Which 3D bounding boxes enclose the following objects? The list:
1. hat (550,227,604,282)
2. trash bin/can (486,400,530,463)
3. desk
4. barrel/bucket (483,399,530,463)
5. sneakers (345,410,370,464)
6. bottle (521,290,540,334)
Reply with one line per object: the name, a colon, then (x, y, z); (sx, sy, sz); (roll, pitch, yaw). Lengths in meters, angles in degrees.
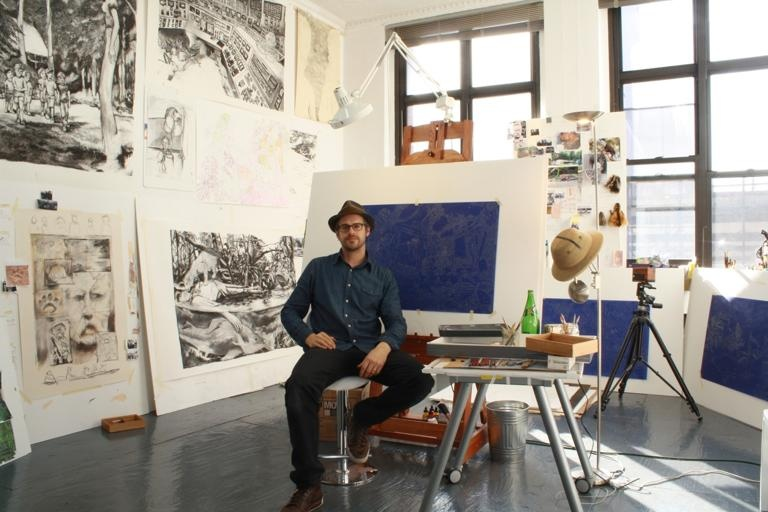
hat: (1.259, -0.019, 3.299); (0.357, 0.320, 0.217); (-4, 4, -31)
trash bin/can: (0.938, 1.350, 4.032); (0.381, 0.397, 0.355); (-3, -4, 36)
desk: (0.796, 1.053, 3.278); (1.029, 0.912, 0.981); (-3, -3, 19)
barrel/bucket: (0.927, 1.343, 3.997); (0.357, 0.397, 0.380); (0, -4, 0)
sneakers: (-0.198, 1.320, 3.717); (0.136, 0.396, 0.170); (-6, 2, -22)
bottle: (1.057, 0.398, 3.713); (0.133, 0.287, 0.329); (-1, 4, 16)
